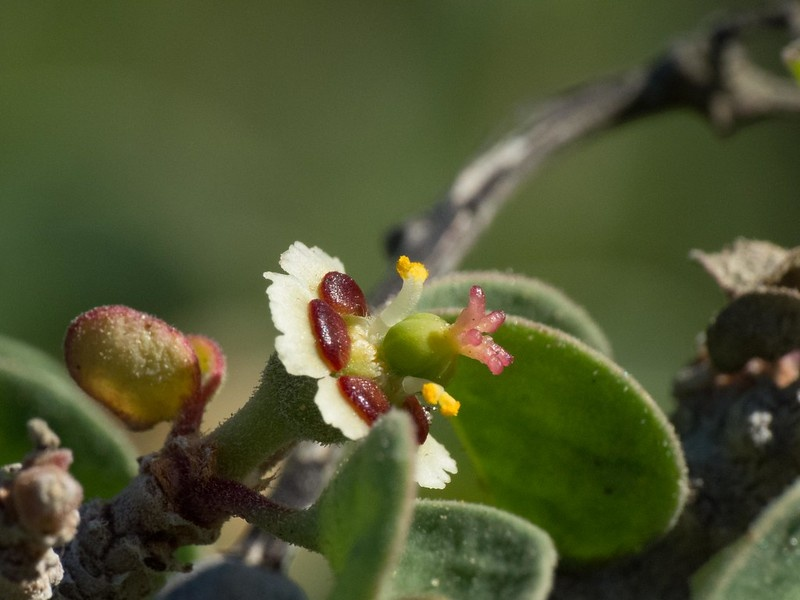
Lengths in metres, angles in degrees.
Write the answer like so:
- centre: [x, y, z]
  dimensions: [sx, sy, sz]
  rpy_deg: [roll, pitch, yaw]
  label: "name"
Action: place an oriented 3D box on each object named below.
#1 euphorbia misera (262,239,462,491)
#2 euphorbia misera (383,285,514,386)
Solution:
- centre: [-0.066, 0.096, 1.797]
  dimensions: [0.308, 0.341, 0.270]
  rpy_deg: [4, 8, -13]
  label: "euphorbia misera"
- centre: [0.069, 0.063, 1.804]
  dimensions: [0.202, 0.144, 0.104]
  rpy_deg: [-13, -16, 37]
  label: "euphorbia misera"
